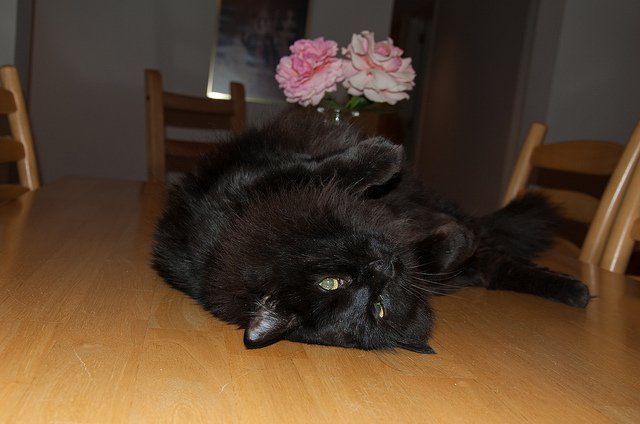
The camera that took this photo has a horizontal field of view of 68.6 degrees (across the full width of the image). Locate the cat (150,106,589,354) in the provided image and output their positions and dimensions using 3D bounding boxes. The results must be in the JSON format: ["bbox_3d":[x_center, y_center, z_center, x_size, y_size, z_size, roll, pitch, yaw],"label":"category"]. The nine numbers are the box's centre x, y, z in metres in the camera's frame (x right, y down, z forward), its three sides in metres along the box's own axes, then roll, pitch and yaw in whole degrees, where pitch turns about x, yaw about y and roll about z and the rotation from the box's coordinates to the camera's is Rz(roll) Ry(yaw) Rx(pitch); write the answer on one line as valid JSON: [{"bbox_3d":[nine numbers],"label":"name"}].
[{"bbox_3d":[0.107,0.182,1.192,0.866,0.358,0.644,12,50,10],"label":"cat"}]
